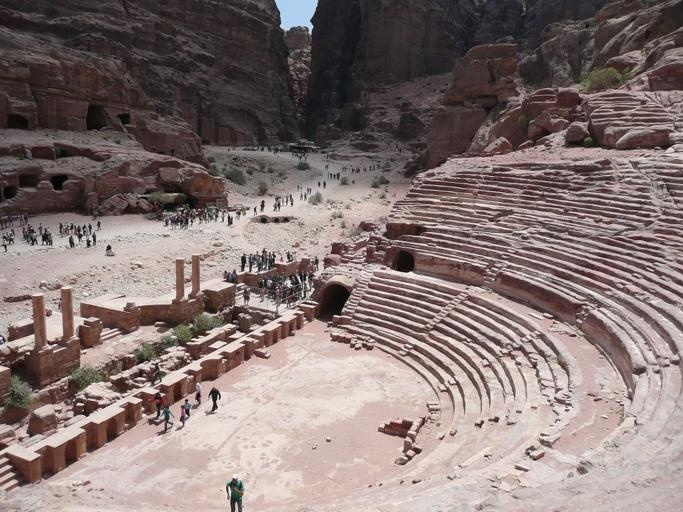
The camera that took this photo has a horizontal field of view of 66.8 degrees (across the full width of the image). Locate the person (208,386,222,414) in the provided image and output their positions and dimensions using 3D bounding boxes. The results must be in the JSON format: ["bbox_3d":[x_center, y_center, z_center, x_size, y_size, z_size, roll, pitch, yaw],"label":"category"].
[{"bbox_3d":[-5.062,5.667,20.702,0.367,0.909,1.050,1,11,-8],"label":"person"}]

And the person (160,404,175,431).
[{"bbox_3d":[-6.623,6.106,19.640,0.435,0.920,0.884,-2,12,-20],"label":"person"}]
